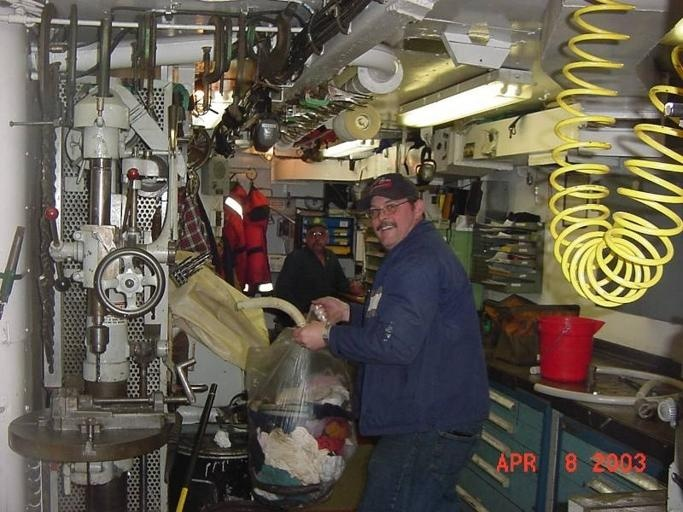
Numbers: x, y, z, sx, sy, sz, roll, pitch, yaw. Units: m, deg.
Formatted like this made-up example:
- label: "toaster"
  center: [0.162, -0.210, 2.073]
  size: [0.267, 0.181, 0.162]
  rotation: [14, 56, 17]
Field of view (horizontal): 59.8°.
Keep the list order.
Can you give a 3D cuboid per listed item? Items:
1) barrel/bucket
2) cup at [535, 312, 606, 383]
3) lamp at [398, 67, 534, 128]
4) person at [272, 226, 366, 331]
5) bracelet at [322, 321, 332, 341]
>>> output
- label: "barrel/bucket"
  center: [1.294, 0.544, 3.481]
  size: [0.415, 0.358, 0.333]
  rotation: [-1, -2, 9]
- label: "cup"
  center: [1.307, 0.538, 3.457]
  size: [0.323, 0.369, 0.225]
  rotation: [3, 5, 11]
- label: "lamp"
  center: [0.795, -1.012, 3.891]
  size: [0.313, 0.159, 1.345]
  rotation: [1, 5, -17]
- label: "person"
  center: [-0.356, 0.166, 6.155]
  size: [1.070, 1.348, 0.842]
  rotation: [-3, 7, -34]
- label: "bracelet"
  center: [-0.073, 0.356, 2.794]
  size: [0.047, 0.066, 0.069]
  rotation: [7, -26, 12]
